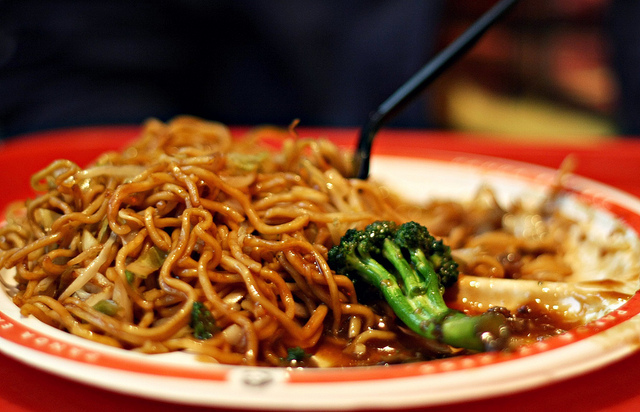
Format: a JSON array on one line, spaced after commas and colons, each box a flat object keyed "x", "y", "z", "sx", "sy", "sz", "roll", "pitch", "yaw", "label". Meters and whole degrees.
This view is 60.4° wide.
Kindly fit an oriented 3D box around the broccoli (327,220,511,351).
[{"x": 0.295, "y": 0.278, "z": 1.756, "sx": 0.342, "sy": 0.199, "sz": 0.506, "roll": 9, "pitch": 13, "yaw": -32, "label": "broccoli"}]
